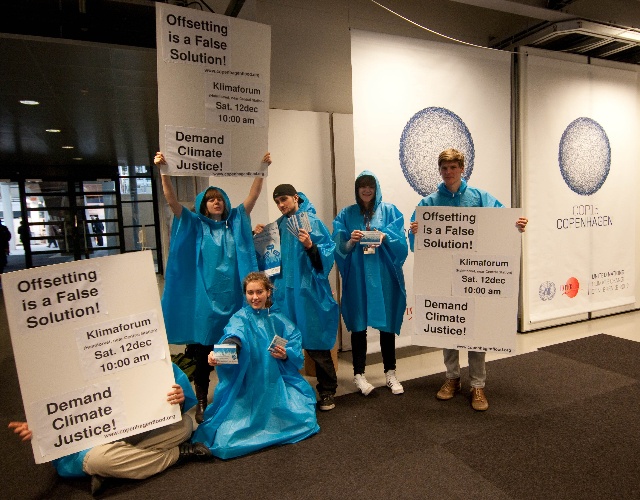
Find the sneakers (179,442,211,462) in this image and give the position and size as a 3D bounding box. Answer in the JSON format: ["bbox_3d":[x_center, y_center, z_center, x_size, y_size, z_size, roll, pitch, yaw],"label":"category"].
[{"bbox_3d":[-0.836,1.342,3.526,0.236,0.116,0.088,-5,-13,14],"label":"sneakers"}]

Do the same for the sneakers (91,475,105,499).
[{"bbox_3d":[-1.357,1.452,3.266,0.065,0.113,0.114,2,-17,-9],"label":"sneakers"}]

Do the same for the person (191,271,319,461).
[{"bbox_3d":[-0.403,0.855,4.151,1.000,1.398,1.077,0,-10,-10],"label":"person"}]

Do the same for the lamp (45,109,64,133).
[{"bbox_3d":[-3.486,-1.674,7.030,0.218,0.060,0.257,0,-37,-15],"label":"lamp"}]

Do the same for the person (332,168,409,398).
[{"bbox_3d":[0.413,0.259,4.333,0.578,1.757,0.478,-2,11,0],"label":"person"}]

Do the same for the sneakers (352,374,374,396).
[{"bbox_3d":[0.338,1.089,4.343,0.104,0.163,0.225,-12,15,-41],"label":"sneakers"}]

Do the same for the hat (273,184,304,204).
[{"bbox_3d":[-0.264,-0.427,4.213,0.123,0.099,0.183,-16,-11,24],"label":"hat"}]

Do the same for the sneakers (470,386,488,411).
[{"bbox_3d":[1.202,1.125,4.029,0.140,0.125,0.163,3,12,23],"label":"sneakers"}]

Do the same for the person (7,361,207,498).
[{"bbox_3d":[-1.300,1.100,3.386,0.938,0.540,0.744,-9,38,-32],"label":"person"}]

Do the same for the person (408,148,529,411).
[{"bbox_3d":[1.034,0.202,4.135,0.694,1.928,0.548,2,12,21],"label":"person"}]

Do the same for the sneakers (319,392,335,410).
[{"bbox_3d":[0.056,1.161,4.180,0.132,0.105,0.266,-2,11,0],"label":"sneakers"}]
